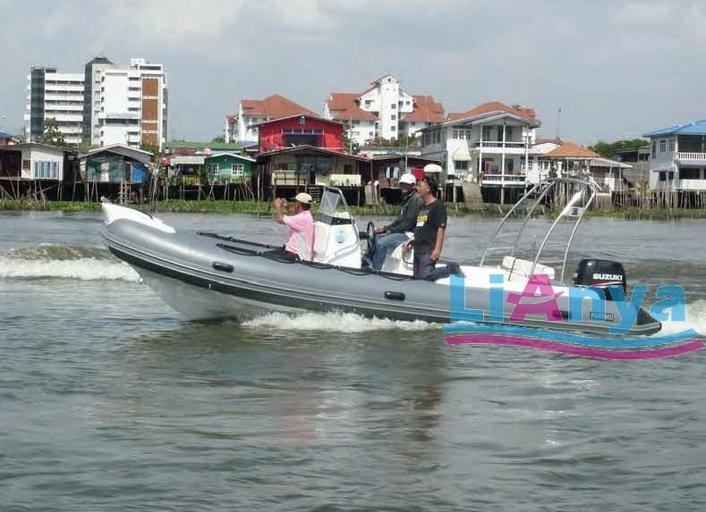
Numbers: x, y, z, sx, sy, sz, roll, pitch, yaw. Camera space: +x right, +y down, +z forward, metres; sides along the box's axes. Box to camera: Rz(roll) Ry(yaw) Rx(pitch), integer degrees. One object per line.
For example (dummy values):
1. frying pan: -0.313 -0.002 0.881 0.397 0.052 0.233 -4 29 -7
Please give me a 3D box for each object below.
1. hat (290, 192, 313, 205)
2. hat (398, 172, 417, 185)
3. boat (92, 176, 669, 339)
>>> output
1. hat: -0.813 -0.880 18.091 0.238 0.095 0.305 4 2 -36
2. hat: 0.824 -1.188 17.903 0.230 0.144 0.285 1 -6 21
3. boat: -0.089 0.466 18.583 10.137 2.495 2.880 4 -3 -5
